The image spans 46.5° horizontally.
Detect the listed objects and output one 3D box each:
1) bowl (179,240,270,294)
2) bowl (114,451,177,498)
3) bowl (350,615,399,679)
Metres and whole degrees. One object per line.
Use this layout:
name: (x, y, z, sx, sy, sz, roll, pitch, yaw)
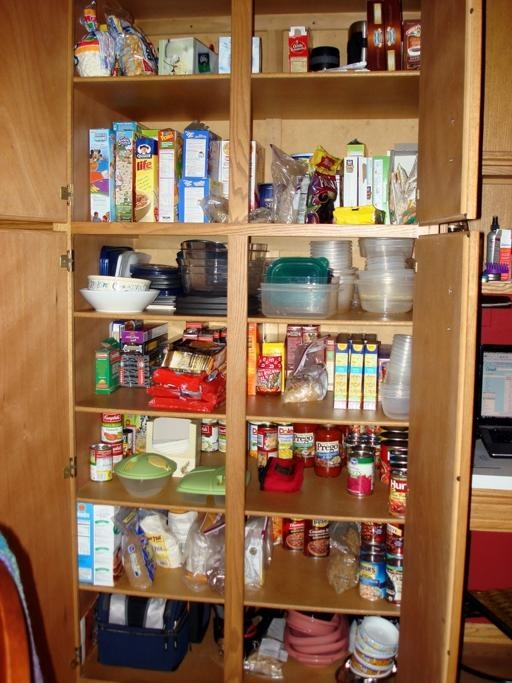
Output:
bowl: (-0.114, -0.223, 1.815, 0.213, 0.106, 0.184, 0, 3, 12)
bowl: (-0.354, 0.430, 1.905, 0.233, 0.135, 0.232, 4, -10, 1)
bowl: (0.344, 0.918, 1.827, 0.142, 0.157, 0.149, 1, 3, 0)
